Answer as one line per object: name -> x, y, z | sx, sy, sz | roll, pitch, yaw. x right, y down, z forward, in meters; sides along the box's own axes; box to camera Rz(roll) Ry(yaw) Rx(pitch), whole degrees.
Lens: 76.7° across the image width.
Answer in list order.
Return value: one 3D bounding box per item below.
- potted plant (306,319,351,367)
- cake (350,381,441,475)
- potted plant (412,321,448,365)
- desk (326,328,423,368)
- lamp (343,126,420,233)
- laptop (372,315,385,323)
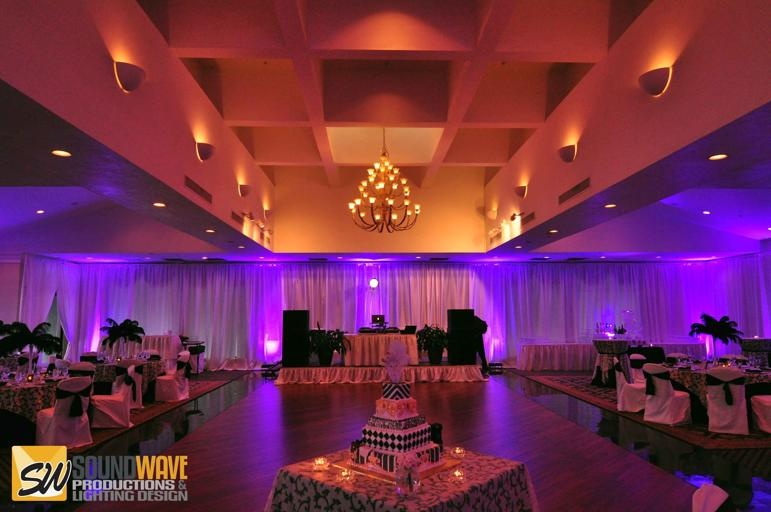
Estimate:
potted plant -> -1.563, 2.480, 13.799 | 1.193, 1.051, 1.197 | 1, -4, -25
cake -> 0.162, 1.835, 5.359 | 0.874, 0.908, 0.865 | 0, -12, -1
potted plant -> 1.387, 2.566, 14.149 | 0.916, 0.979, 0.922 | -18, -15, 25
desk -> -0.191, 2.603, 13.496 | 1.861, 0.898, 0.540 | -1, -2, 9
lamp -> -0.021, -1.913, 13.120 | 1.725, 2.782, 4.811 | 0, -3, 1
laptop -> -0.187, 1.806, 13.821 | 0.345, 0.249, 0.196 | 0, -4, 2
